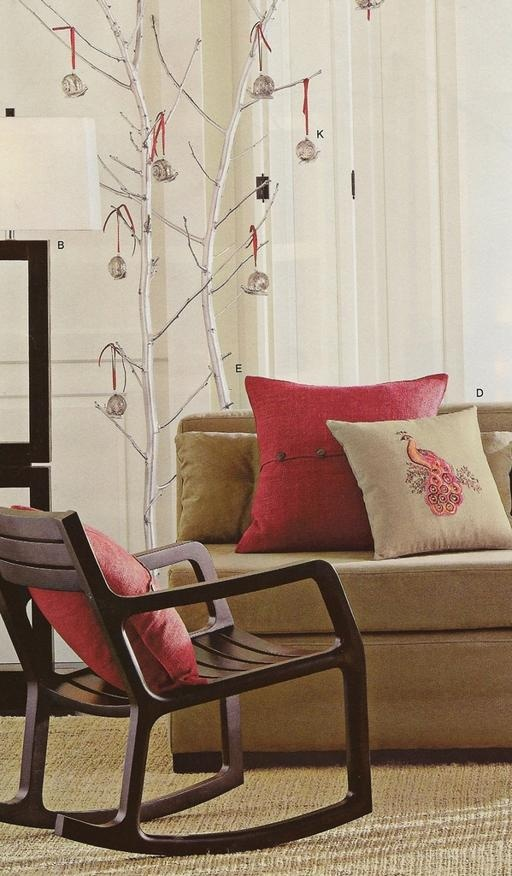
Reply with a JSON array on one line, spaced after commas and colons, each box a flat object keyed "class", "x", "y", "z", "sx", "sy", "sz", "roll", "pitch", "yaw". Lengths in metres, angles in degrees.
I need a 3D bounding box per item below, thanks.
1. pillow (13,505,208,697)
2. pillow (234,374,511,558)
[{"class": "pillow", "x": -0.254, "y": 0.294, "z": 1.608, "sx": 0.298, "sy": 0.354, "sz": 0.267, "roll": -3, "pitch": 3, "yaw": -16}, {"class": "pillow", "x": 0.277, "y": 0.088, "z": 2.304, "sx": 0.419, "sy": 0.383, "sz": 0.161, "roll": -2, "pitch": -12, "yaw": -7}]
